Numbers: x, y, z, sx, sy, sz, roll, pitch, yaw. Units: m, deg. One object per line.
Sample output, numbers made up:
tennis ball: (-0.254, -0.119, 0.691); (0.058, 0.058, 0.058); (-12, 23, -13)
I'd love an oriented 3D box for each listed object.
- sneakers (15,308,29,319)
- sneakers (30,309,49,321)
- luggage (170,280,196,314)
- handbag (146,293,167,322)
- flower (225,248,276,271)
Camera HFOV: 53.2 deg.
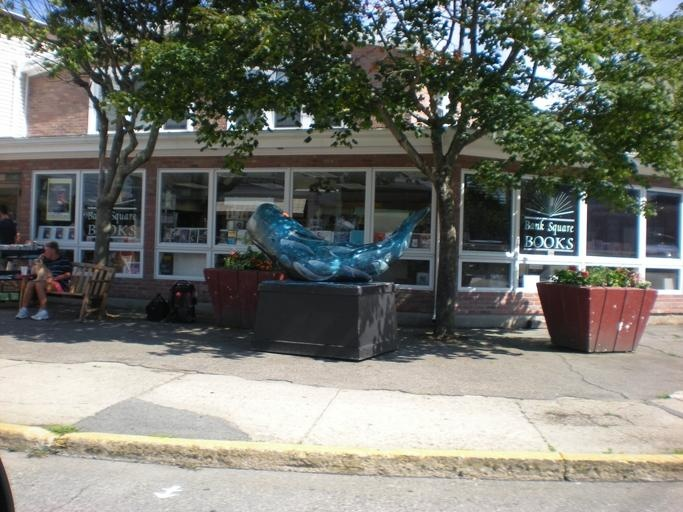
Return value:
sneakers: (-6.518, 1.144, 13.921); (0.246, 0.241, 0.401); (0, 2, -22)
sneakers: (-6.151, 1.170, 13.929); (0.325, 0.218, 0.462); (0, 2, -21)
luggage: (-3.374, 0.856, 14.494); (0.662, 0.694, 0.699); (1, 3, -14)
handbag: (-3.965, 1.110, 14.646); (0.608, 0.640, 0.392); (4, -11, -7)
flower: (-1.850, 0.044, 13.673); (0.750, 0.434, 0.908); (0, 2, -32)
